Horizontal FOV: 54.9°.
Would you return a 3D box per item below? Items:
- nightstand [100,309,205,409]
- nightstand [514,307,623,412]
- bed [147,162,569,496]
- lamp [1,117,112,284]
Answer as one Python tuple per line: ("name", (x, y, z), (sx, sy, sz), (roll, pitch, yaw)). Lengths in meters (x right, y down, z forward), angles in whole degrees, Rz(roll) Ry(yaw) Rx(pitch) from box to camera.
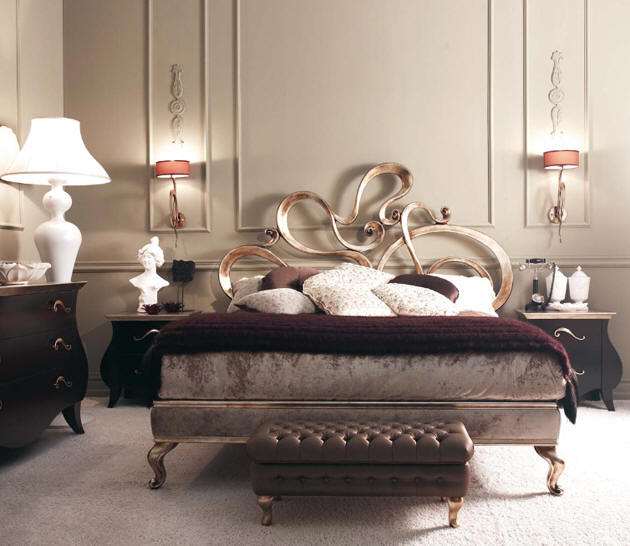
("nightstand", (-1.222, 0.694, 4.728), (0.723, 0.654, 0.534), (2, -7, -6))
("nightstand", (1.854, 0.573, 4.689), (0.929, 0.855, 0.658), (-1, -4, 9))
("bed", (0.309, 0.134, 3.983), (2.284, 1.732, 2.090), (0, 8, 4))
("lamp", (-1.872, -0.515, 4.209), (0.702, 1.123, 0.698), (0, 9, 7))
